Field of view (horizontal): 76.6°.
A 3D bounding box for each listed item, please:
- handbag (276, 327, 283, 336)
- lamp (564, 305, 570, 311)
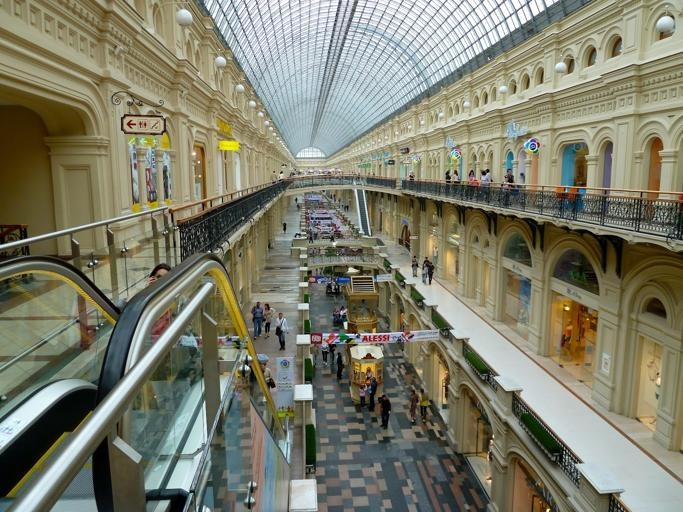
[{"bbox_3d":[-2.607,3.120,17.902,0.369,0.374,0.195,6,10,30],"label":"handbag"},{"bbox_3d":[9.760,2.250,18.710,0.056,0.245,0.265,-3,10,-20],"label":"lamp"}]
